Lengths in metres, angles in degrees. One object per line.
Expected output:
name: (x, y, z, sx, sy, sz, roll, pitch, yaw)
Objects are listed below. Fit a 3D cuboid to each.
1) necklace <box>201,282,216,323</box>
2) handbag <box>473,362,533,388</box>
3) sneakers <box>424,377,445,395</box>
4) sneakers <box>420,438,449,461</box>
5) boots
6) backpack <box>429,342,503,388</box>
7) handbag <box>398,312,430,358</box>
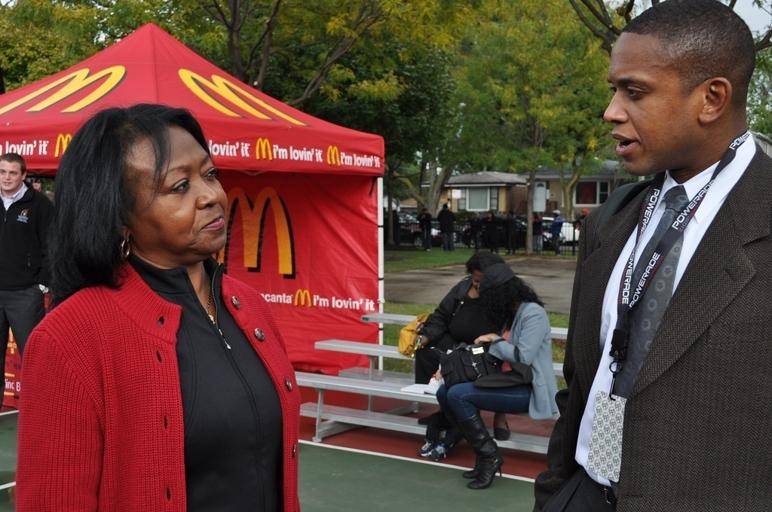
necklace: (-0.628, 0.170, 2.449, 0.026, 0.110, 0.078, -4, 6, -18)
handbag: (1.050, 1.084, 6.130, 0.350, 0.146, 0.266, -7, 6, 4)
sneakers: (0.445, 1.260, 6.666, 0.265, 0.120, 0.092, -4, 0, -4)
sneakers: (0.415, 1.864, 6.665, 0.340, 0.163, 0.129, -1, 4, 28)
boots: (0.700, 1.748, 6.116, 0.530, 0.836, 0.470, -7, 1, 2)
backpack: (0.746, 0.964, 6.230, 0.404, 0.290, 0.405, -11, -11, -23)
handbag: (0.334, 0.848, 7.290, 0.162, 0.414, 0.320, 29, -15, -32)
